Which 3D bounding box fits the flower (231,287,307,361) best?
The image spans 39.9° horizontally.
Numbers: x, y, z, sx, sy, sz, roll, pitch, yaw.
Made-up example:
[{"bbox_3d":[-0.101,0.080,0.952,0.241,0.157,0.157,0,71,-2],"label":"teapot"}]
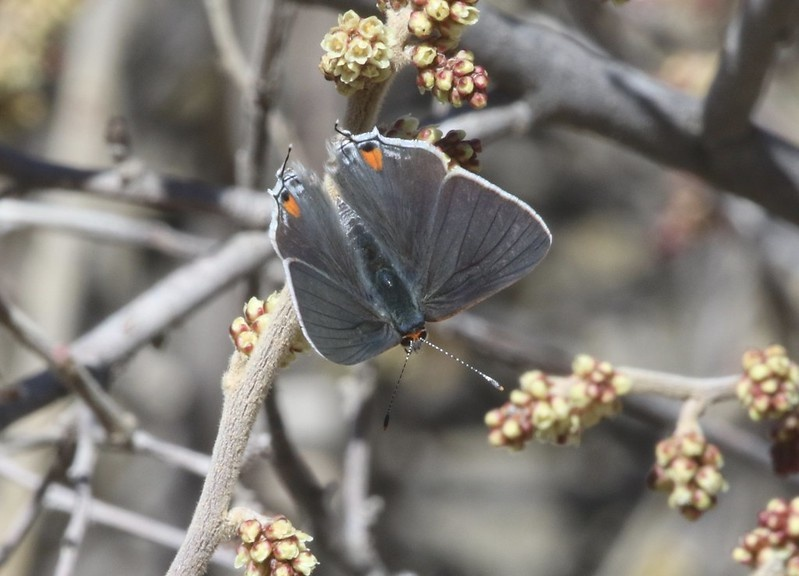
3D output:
[{"bbox_3d":[-0.253,0.071,2.070,0.122,0.114,0.115,-20,46,-21],"label":"flower"}]
